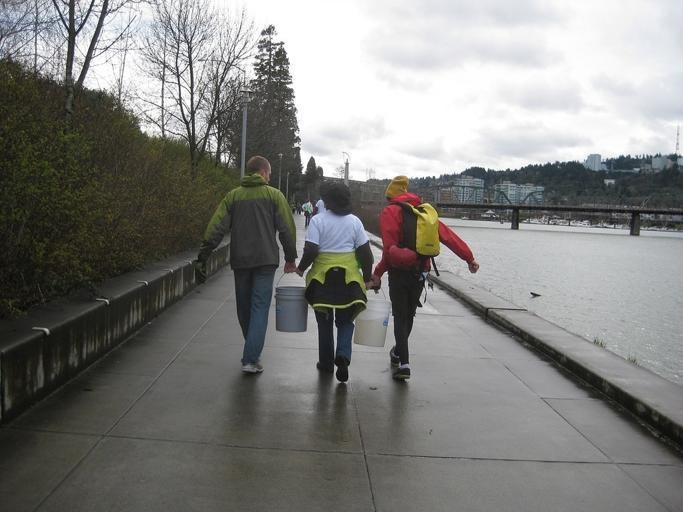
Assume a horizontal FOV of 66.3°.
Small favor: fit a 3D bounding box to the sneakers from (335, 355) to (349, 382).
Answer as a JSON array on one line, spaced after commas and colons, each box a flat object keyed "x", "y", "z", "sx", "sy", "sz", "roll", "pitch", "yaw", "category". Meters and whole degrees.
[{"x": 0.000, "y": 1.197, "z": 5.607, "sx": 0.104, "sy": 0.332, "sz": 0.128, "roll": -6, "pitch": 0, "yaw": 7, "category": "sneakers"}]

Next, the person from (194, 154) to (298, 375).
[{"x": -1.055, "y": 0.081, "z": 5.934, "sx": 1.066, "sy": 2.425, "sz": 0.613, "roll": 2, "pitch": 4, "yaw": -3, "category": "person"}]

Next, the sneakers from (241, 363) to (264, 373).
[{"x": -0.994, "y": 1.242, "z": 5.846, "sx": 0.238, "sy": 0.131, "sz": 0.098, "roll": -3, "pitch": 9, "yaw": -30, "category": "sneakers"}]

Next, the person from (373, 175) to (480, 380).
[{"x": 0.838, "y": 0.243, "z": 6.046, "sx": 0.987, "sy": 2.260, "sz": 0.643, "roll": 2, "pitch": 4, "yaw": 0, "category": "person"}]

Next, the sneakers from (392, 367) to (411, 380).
[{"x": 0.665, "y": 1.311, "z": 5.949, "sx": 0.106, "sy": 0.124, "sz": 0.252, "roll": 0, "pitch": 1, "yaw": -7, "category": "sneakers"}]

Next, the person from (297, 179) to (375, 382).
[{"x": -0.071, "y": 0.275, "z": 5.791, "sx": 0.810, "sy": 2.188, "sz": 0.669, "roll": 1, "pitch": 4, "yaw": -6, "category": "person"}]
